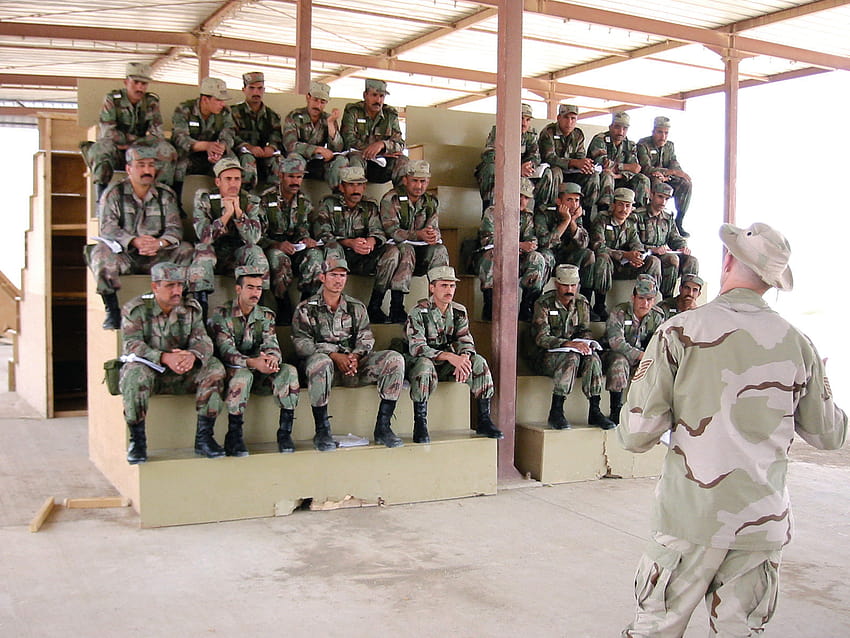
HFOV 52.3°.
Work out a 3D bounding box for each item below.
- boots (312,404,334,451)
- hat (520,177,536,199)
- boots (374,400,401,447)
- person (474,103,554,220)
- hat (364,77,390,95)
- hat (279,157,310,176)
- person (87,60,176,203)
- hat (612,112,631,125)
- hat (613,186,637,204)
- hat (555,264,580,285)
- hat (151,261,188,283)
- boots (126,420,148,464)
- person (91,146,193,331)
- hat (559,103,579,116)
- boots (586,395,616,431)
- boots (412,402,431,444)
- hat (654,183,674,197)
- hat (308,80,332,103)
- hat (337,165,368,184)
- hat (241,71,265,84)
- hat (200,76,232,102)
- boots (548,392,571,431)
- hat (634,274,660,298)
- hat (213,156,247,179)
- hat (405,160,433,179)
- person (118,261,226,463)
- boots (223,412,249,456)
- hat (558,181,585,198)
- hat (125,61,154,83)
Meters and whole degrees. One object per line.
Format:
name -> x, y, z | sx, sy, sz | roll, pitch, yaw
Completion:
boots -> -0.798, 0.859, 6.888 | 0.170, 0.333, 0.280 | 0, 8, -7
hat -> 1.020, -1.300, 8.614 | 0.180, 0.111, 0.221 | -3, 28, -10
boots -> -0.313, 0.843, 7.116 | 0.199, 0.360, 0.301 | 0, 8, -7
person -> 1.008, -1.704, 9.219 | 0.974, 1.182, 0.834 | 10, 19, 10
hat -> -0.517, -2.374, 8.861 | 0.164, 0.097, 0.205 | -2, 7, -26
hat -> -1.184, -1.365, 7.767 | 0.266, 0.110, 0.361 | -1, 5, -15
person -> -2.681, -1.680, 7.945 | 0.890, 1.207, 0.745 | -2, 20, -31
hat -> 2.244, -2.275, 9.889 | 0.174, 0.116, 0.165 | 1, -1, -10
hat -> 2.099, -1.303, 9.154 | 0.199, 0.166, 0.309 | 2, 8, 10
hat -> 1.323, -0.398, 8.055 | 0.194, 0.144, 0.196 | -3, 6, -30
hat -> -1.965, -0.371, 6.592 | 0.195, 0.105, 0.189 | -3, 10, -30
boots -> -2.118, 0.901, 6.362 | 0.127, 0.263, 0.285 | -1, 11, -5
person -> -2.385, -0.732, 7.243 | 0.941, 1.411, 0.902 | -11, 23, -42
hat -> 1.586, -2.342, 9.659 | 0.145, 0.094, 0.179 | 1, -2, -4
boots -> 1.584, 0.861, 7.996 | 0.191, 0.276, 0.331 | -2, 8, -21
boots -> -0.020, 0.861, 7.233 | 0.163, 0.340, 0.367 | 0, 18, -7
hat -> 2.620, -1.406, 9.522 | 0.176, 0.100, 0.167 | 6, 17, -17
hat -> -1.052, -2.266, 8.665 | 0.189, 0.212, 0.486 | 0, 8, -3
hat -> -0.677, -1.329, 8.011 | 0.225, 0.159, 0.326 | -1, 8, -10
hat -> -1.662, -2.333, 8.419 | 0.171, 0.128, 0.171 | -2, 8, -20
hat -> -1.940, -2.120, 8.035 | 0.286, 0.135, 0.201 | 8, 16, 5
boots -> 1.220, 0.842, 7.905 | 0.175, 0.294, 0.296 | 1, 8, 5
hat -> 2.092, -0.299, 8.198 | 0.196, 0.240, 0.100 | 5, 6, 20
hat -> -1.660, -1.270, 7.299 | 0.234, 0.177, 0.174 | 1, 8, 3
hat -> -0.074, -1.404, 8.241 | 0.201, 0.120, 0.279 | 0, 16, -10
person -> -1.914, 0.309, 6.566 | 0.776, 1.437, 0.619 | -2, 8, -19
boots -> -1.420, 0.888, 6.635 | 0.162, 0.344, 0.372 | 0, 17, -26
hat -> 1.472, -1.314, 8.842 | 0.163, 0.096, 0.204 | -2, 2, -33
hat -> -2.641, -2.267, 7.961 | 0.192, 0.127, 0.244 | 1, 0, -29
